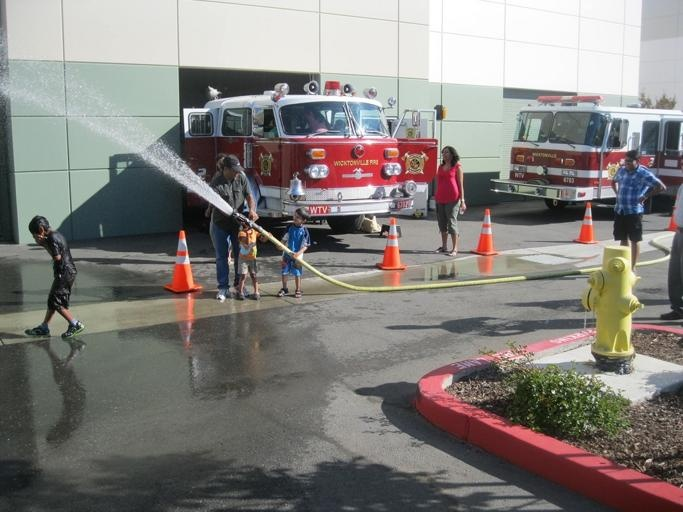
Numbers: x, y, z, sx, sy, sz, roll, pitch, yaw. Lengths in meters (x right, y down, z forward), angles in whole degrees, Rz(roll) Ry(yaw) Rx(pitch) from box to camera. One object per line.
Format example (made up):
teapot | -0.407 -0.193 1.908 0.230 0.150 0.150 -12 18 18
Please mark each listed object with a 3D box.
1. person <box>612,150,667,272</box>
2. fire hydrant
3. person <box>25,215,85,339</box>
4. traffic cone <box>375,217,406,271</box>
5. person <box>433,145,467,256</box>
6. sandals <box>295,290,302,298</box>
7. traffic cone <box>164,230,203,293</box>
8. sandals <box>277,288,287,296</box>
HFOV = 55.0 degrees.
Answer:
person | 4.900 -0.747 10.877 0.589 1.875 1.049 -3 9 -27
fire hydrant | 2.862 0.562 6.949 0.745 1.207 0.618 2 3 -17
person | -3.681 0.257 8.440 0.747 1.479 0.820 5 16 -28
traffic cone | 0.961 -0.227 12.092 0.744 0.837 0.769 7 10 36
person | 2.198 -1.159 13.349 0.501 2.138 0.916 0 3 -37
sandals | -0.686 0.591 10.207 0.129 0.135 0.338 -1 1 -5
traffic cone | -2.564 0.058 10.555 0.835 0.893 0.805 -3 8 -13
sandals | -0.935 0.573 10.293 0.075 0.075 0.190 0 -3 15
